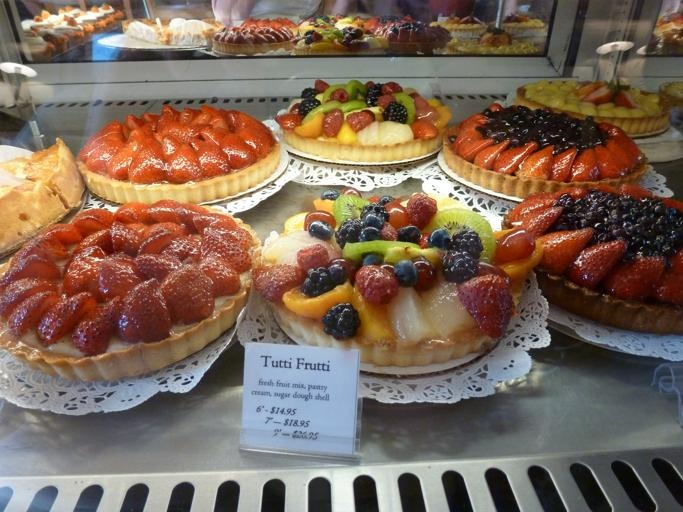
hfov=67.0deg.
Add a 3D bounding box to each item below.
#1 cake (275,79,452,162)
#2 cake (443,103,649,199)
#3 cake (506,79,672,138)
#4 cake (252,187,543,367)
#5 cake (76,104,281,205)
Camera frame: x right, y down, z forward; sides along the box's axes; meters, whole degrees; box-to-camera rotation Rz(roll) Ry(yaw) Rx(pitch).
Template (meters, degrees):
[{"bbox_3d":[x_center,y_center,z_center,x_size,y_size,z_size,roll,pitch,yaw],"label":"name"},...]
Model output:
[{"bbox_3d":[0.100,-0.796,3.033,1.046,0.373,0.579,4,36,8],"label":"cake"},{"bbox_3d":[1.064,-0.491,2.753,0.846,0.205,0.683,6,30,14],"label":"cake"},{"bbox_3d":[1.629,-0.928,3.129,0.648,0.177,0.595,6,16,2],"label":"cake"},{"bbox_3d":[0.147,0.058,1.957,1.012,0.396,0.720,14,38,21],"label":"cake"},{"bbox_3d":[-0.883,-0.560,2.802,1.117,0.328,0.687,-5,35,-5],"label":"cake"}]
